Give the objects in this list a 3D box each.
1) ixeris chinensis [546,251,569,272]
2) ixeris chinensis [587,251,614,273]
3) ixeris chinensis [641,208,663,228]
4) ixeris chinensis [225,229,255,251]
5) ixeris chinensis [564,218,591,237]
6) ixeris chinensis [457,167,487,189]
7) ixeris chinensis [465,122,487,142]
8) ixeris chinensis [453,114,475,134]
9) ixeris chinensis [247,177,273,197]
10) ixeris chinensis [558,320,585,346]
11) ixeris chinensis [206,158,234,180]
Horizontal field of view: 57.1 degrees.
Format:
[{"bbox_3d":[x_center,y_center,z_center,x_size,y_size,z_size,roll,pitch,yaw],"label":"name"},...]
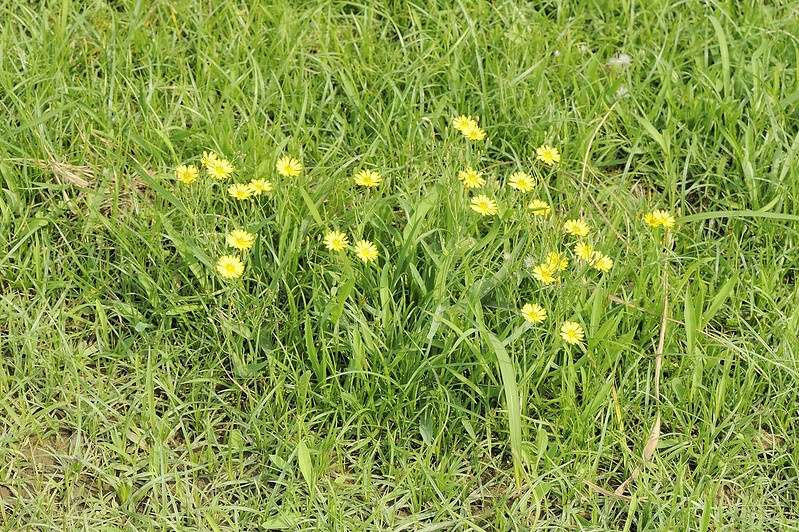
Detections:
[{"bbox_3d":[0.648,-0.021,2.996,0.081,0.035,0.089,6,62,-9],"label":"ixeris chinensis"},{"bbox_3d":[0.835,-0.028,3.039,0.088,0.039,0.090,24,51,-9],"label":"ixeris chinensis"},{"bbox_3d":[1.098,-0.202,3.190,0.072,0.031,0.078,39,73,23],"label":"ixeris chinensis"},{"bbox_3d":[-0.639,-0.112,2.937,0.084,0.032,0.092,2,67,-21],"label":"ixeris chinensis"},{"bbox_3d":[0.754,-0.188,3.129,0.078,0.024,0.082,8,54,-2],"label":"ixeris chinensis"},{"bbox_3d":[0.311,-0.367,3.150,0.099,0.027,0.102,25,55,-11],"label":"ixeris chinensis"},{"bbox_3d":[0.343,-0.607,3.325,0.092,0.036,0.090,-14,62,-35],"label":"ixeris chinensis"},{"bbox_3d":[0.284,-0.654,3.387,0.095,0.036,0.105,15,51,-5],"label":"ixeris chinensis"},{"bbox_3d":[-0.583,-0.337,3.087,0.078,0.018,0.081,-6,52,-16],"label":"ixeris chinensis"},{"bbox_3d":[0.676,0.265,2.897,0.091,0.075,0.079,-2,35,1],"label":"ixeris chinensis"},{"bbox_3d":[-0.761,-0.416,3.108,0.109,0.071,0.114,-12,37,-13],"label":"ixeris chinensis"}]
